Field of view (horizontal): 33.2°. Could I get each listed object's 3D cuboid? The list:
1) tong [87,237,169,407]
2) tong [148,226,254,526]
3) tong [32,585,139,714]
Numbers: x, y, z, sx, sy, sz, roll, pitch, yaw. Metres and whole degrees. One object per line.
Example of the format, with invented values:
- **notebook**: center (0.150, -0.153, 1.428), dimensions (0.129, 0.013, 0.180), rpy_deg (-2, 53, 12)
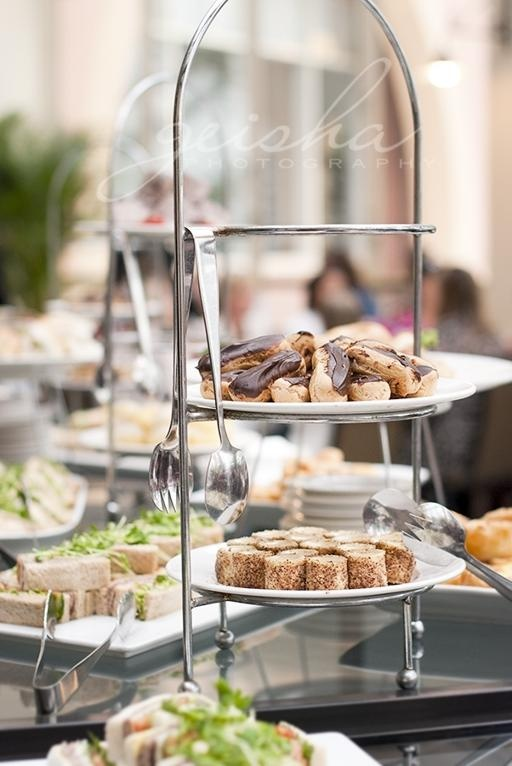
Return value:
- **tong**: center (-0.207, -0.090, 1.361), dimensions (0.138, 0.302, 0.124), rpy_deg (5, 11, 38)
- **tong**: center (-0.041, -0.002, 0.551), dimensions (0.061, 0.192, 0.094), rpy_deg (-3, 7, -7)
- **tong**: center (-0.133, 0.193, 0.633), dimensions (0.070, 0.025, 0.178), rpy_deg (0, 7, 0)
